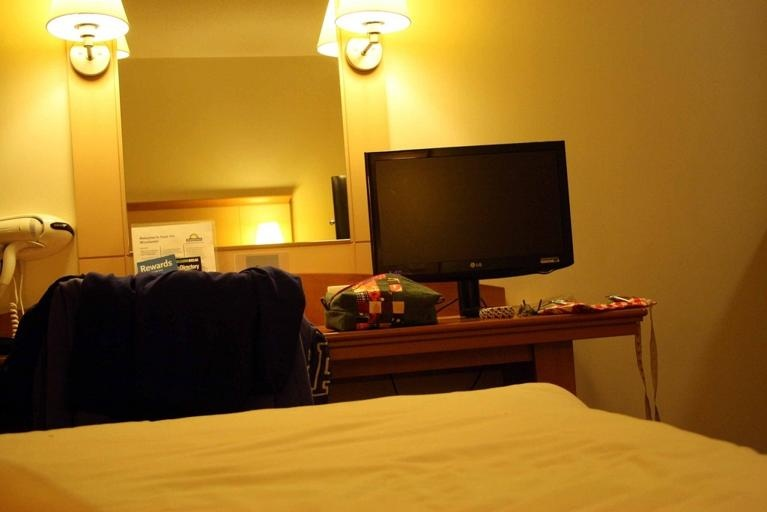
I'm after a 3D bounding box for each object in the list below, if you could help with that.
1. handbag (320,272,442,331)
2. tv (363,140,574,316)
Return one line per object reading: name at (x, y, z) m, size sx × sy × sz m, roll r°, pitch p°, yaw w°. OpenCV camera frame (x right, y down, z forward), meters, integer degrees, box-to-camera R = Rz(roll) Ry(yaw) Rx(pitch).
handbag at (-0.014, 0.149, 1.975) m, size 0.290 × 0.143 × 0.198 m, roll 1°, pitch -4°, yaw -12°
tv at (0.320, -0.113, 2.272) m, size 0.741 × 0.637 × 0.281 m, roll -2°, pitch -7°, yaw -7°
